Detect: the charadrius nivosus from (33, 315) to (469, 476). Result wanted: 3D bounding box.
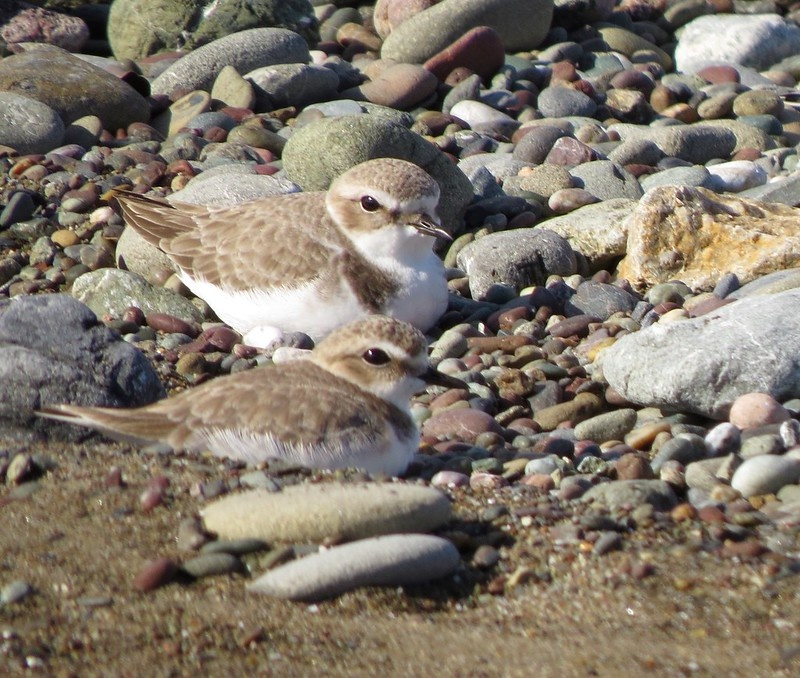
[{"bbox_3d":[-0.617,0.176,4.185,1.686,0.593,0.578,7,9,-14],"label":"charadrius nivosus"}]
